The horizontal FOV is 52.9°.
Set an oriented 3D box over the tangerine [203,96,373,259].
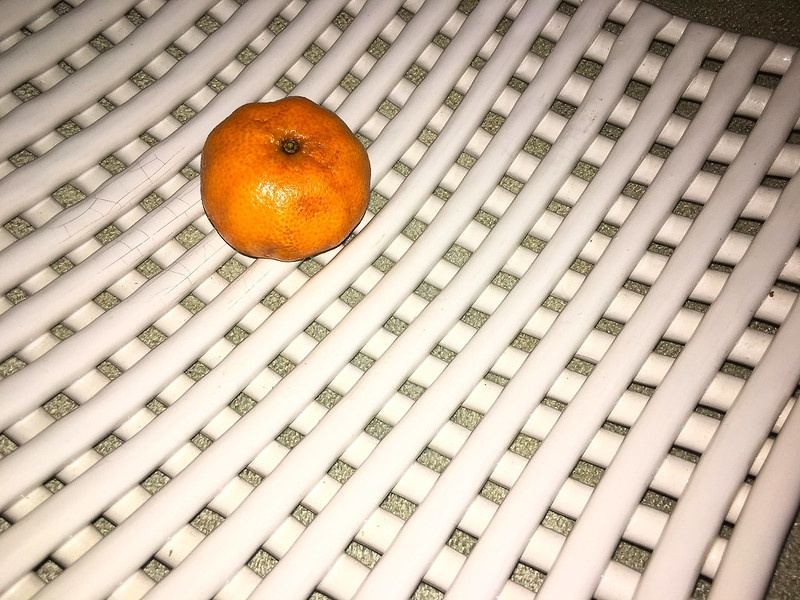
[{"bbox_3d":[-0.149,-0.155,1.034,0.217,0.122,0.121,35,-25,-4],"label":"tangerine"}]
